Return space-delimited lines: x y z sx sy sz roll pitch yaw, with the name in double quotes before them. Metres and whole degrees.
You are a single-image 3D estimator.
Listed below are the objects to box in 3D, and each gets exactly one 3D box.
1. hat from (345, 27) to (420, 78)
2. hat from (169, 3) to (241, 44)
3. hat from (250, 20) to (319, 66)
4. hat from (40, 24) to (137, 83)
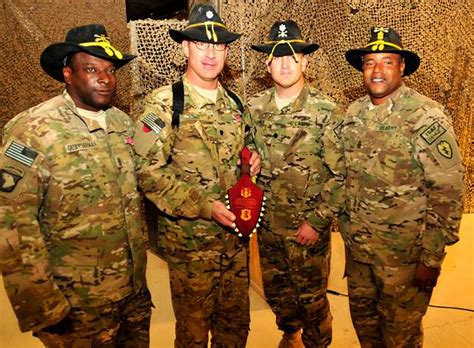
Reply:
"hat" 1.189 -0.972 3.167 0.558 0.191 0.614 0 -8 41
"hat" -0.234 -1.122 3.074 0.532 0.157 0.460 -2 17 -14
"hat" 0.393 -1.084 3.248 0.585 0.170 0.478 1 21 6
"hat" -1.116 -0.858 2.798 0.675 0.191 0.543 -4 0 29
